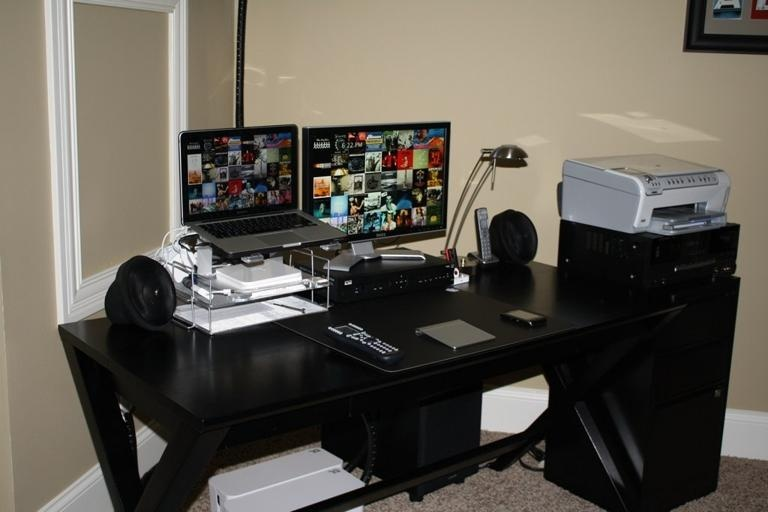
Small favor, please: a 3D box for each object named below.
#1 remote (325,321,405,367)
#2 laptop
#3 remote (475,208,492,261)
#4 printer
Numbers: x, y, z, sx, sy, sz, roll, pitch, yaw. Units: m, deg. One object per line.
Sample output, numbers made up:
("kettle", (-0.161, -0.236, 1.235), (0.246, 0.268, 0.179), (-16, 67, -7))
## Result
("remote", (-0.065, 0.266, 2.068), (0.099, 0.058, 0.291), (-13, 23, -34))
("laptop", (-0.459, -0.231, 2.326), (0.557, 0.515, 0.286), (-10, 19, -35))
("remote", (0.488, -0.101, 2.946), (0.065, 0.259, 0.055), (-11, 6, -39))
("printer", (1.184, -0.307, 2.991), (0.727, 0.371, 0.571), (-4, 12, -18))
